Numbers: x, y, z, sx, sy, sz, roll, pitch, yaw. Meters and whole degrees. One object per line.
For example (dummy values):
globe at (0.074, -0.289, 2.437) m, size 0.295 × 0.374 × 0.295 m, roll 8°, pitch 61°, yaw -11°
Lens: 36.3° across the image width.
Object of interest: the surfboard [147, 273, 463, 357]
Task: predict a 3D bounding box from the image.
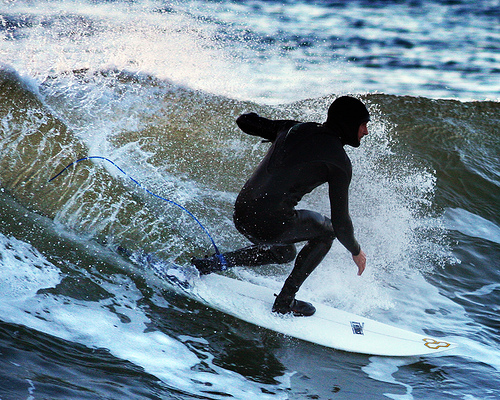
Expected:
surfboard at (0.606, 1.604, 10.351) m, size 4.031 × 0.201 × 0.549 m, roll 10°, pitch 27°, yaw 9°
